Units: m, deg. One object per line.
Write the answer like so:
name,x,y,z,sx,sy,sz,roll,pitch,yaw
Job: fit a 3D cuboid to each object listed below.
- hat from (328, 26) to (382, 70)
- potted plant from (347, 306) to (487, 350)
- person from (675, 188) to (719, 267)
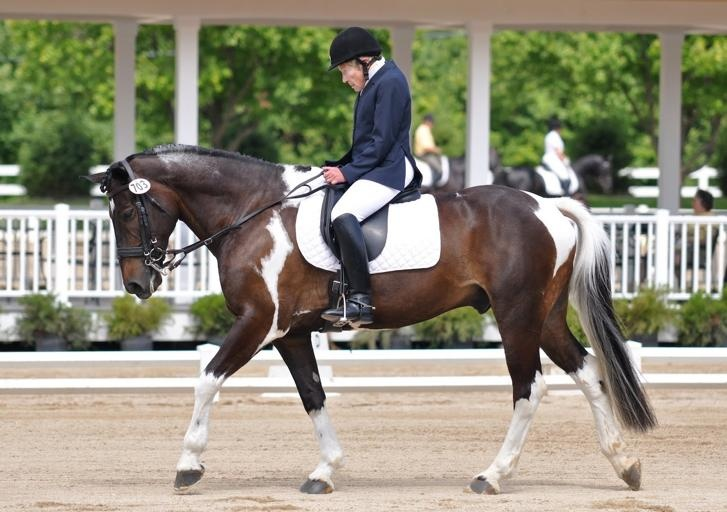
hat,-0.144,-2.327,19.393,0.571,0.316,0.409,-10,0,-16
potted plant,0.665,0.874,22.183,1.618,0.800,0.357,-5,-22,2
person,4.685,-0.405,24.499,0.589,1.086,0.334,2,-2,9
